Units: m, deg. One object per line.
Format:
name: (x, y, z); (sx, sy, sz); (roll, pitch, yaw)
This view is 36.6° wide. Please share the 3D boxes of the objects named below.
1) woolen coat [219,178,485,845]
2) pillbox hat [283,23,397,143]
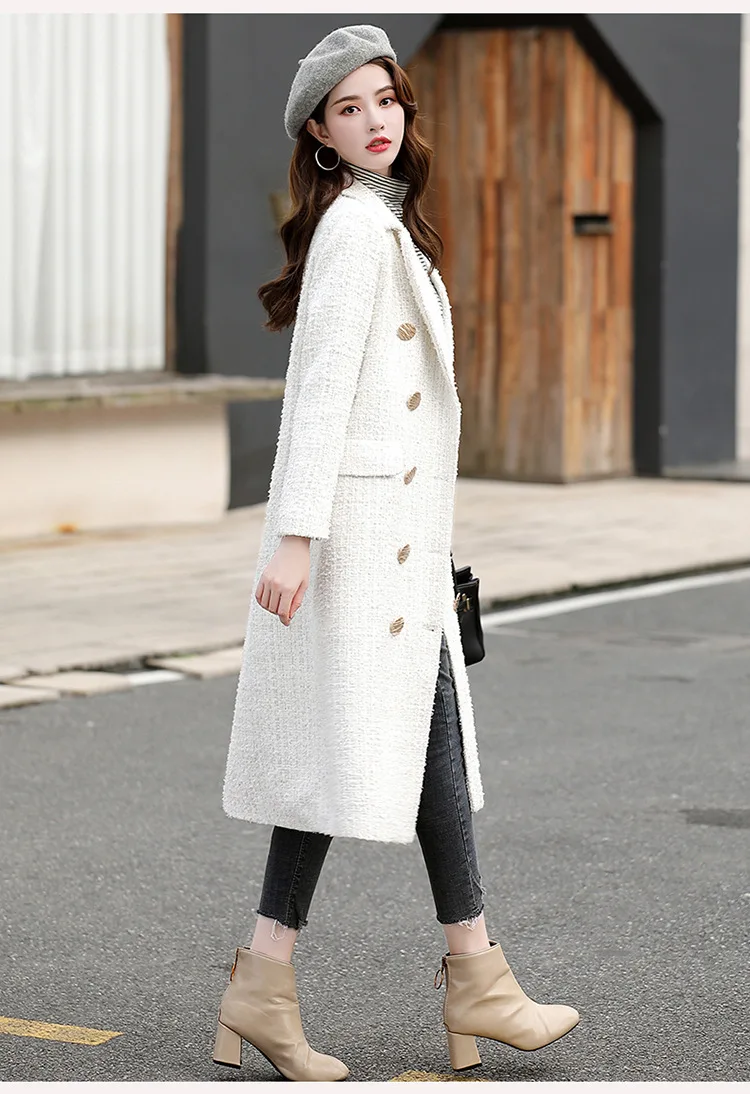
woolen coat: (-0.044, -0.036, 1.713); (0.391, 1.030, 0.382); (-2, 11, -7)
pillbox hat: (-0.063, -0.743, 1.784); (0.152, 0.180, 0.217); (-4, 11, -19)
